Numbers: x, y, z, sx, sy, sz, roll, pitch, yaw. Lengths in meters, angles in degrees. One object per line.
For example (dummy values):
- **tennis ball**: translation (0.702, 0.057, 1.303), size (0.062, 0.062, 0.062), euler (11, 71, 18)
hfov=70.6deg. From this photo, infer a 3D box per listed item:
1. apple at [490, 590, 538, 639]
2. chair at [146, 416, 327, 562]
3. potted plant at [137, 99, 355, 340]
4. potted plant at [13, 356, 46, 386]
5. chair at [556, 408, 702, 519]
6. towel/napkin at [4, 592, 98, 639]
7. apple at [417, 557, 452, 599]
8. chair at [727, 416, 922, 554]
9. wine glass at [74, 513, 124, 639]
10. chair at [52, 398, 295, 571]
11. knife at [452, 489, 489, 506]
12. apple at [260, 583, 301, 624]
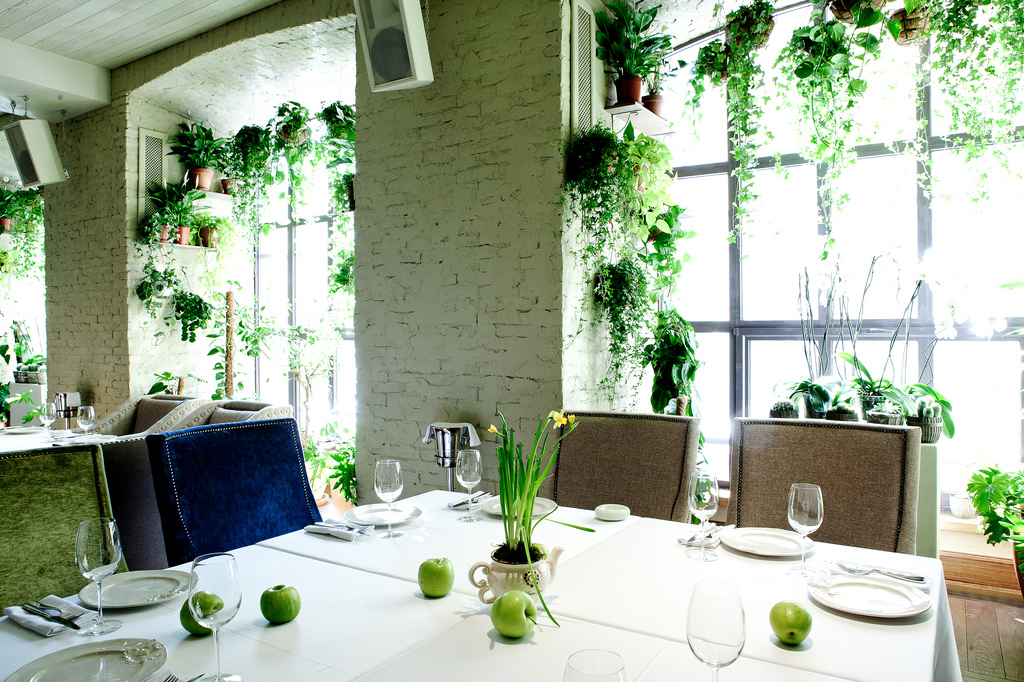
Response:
- **apple**: translation (-0.003, 0.812, 2.157), size (0.128, 0.137, 0.123), euler (1, -3, -43)
- **chair**: translation (-1.150, 0.575, 3.175), size (0.560, 0.825, 0.569), euler (-15, -8, 42)
- **potted plant**: translation (-1.989, -1.190, 6.222), size (2.083, 1.598, 1.041), euler (0, 1, 23)
- **potted plant**: translation (-5.027, 0.309, 7.546), size (0.393, 0.278, 0.393), euler (3, -7, -35)
- **chair**: translation (0.530, 0.600, 3.434), size (0.481, 0.704, 0.497), euler (-3, -19, 24)
- **towel/napkin**: translation (-1.390, 0.833, 2.185), size (0.206, 0.037, 0.126), euler (6, 7, 33)
- **apple**: translation (-0.240, 0.748, 2.336), size (0.110, 0.115, 0.111), euler (3, 7, 18)
- **chair**: translation (1.336, 0.588, 3.226), size (0.579, 0.859, 0.646), euler (0, -8, 26)
- **wine glass**: translation (-1.270, 0.699, 2.207), size (0.112, 0.336, 0.202), euler (-1, 1, -40)
- **chair**: translation (-1.387, 0.599, 2.992), size (0.434, 0.620, 0.483), euler (-13, -22, 15)
- **knife**: translation (-0.170, 0.663, 3.038), size (0.055, 0.022, 0.187), euler (2, 3, 23)
- **apple**: translation (-0.692, 0.787, 2.174), size (0.106, 0.100, 0.107), euler (6, -12, -14)
